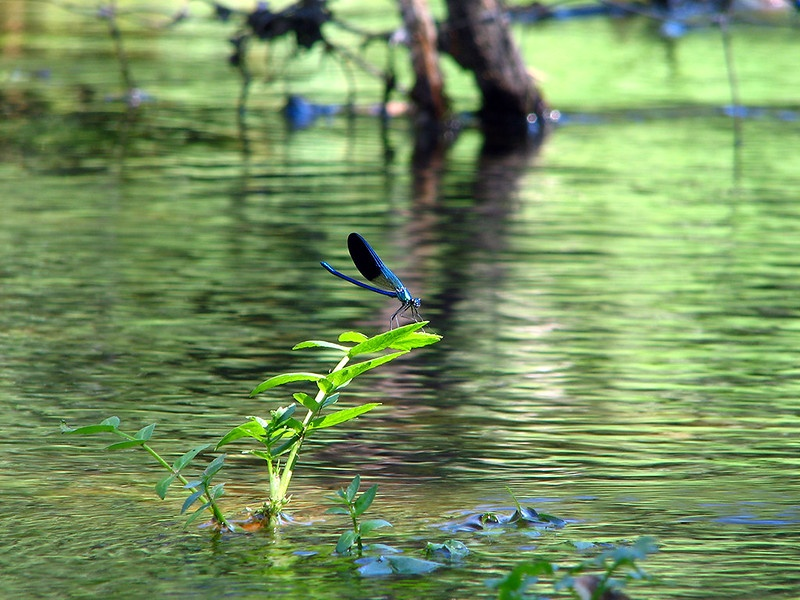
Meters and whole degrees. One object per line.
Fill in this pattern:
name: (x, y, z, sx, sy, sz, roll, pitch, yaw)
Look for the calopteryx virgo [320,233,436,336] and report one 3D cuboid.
calopteryx virgo: (-0.066, -0.054, 3.716, 0.251, 0.382, 0.402, 2, 27, -2)
